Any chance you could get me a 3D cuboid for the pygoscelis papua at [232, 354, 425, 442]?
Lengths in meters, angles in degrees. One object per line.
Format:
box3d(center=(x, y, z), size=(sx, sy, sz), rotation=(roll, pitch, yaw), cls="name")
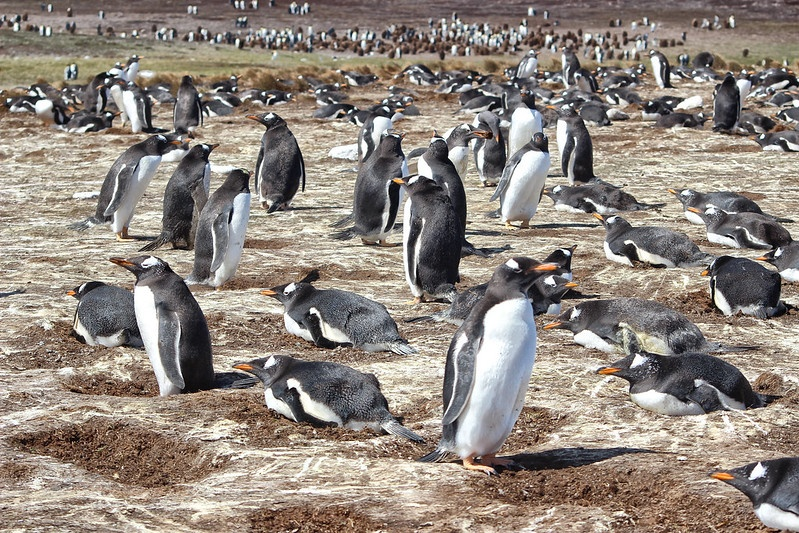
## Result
box3d(center=(-0.769, 1.497, 14.954), size=(1.960, 0.455, 0.843), rotation=(8, -4, 17), cls="pygoscelis papua")
